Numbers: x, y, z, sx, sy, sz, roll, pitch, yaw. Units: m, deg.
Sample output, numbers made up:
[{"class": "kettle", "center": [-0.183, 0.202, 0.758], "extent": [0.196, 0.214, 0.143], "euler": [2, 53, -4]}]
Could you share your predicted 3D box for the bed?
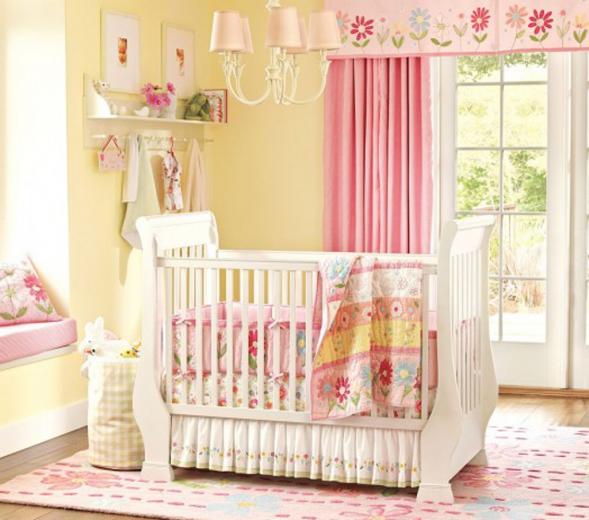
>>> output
[{"class": "bed", "center": [0.066, 0.331, 2.652], "extent": [1.235, 1.180, 0.886], "euler": [0, 4, 10]}]

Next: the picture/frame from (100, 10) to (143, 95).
[{"class": "picture/frame", "center": [-0.950, -1.137, 3.347], "extent": [0.030, 0.559, 0.428], "euler": [5, 8, 26]}]

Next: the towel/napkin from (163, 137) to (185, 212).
[{"class": "towel/napkin", "center": [-0.737, -0.531, 3.831], "extent": [0.106, 0.462, 0.291], "euler": [0, 0, 15]}]

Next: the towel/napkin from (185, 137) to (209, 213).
[{"class": "towel/napkin", "center": [-0.625, -0.545, 3.972], "extent": [0.145, 0.452, 0.114], "euler": [0, 0, -12]}]
